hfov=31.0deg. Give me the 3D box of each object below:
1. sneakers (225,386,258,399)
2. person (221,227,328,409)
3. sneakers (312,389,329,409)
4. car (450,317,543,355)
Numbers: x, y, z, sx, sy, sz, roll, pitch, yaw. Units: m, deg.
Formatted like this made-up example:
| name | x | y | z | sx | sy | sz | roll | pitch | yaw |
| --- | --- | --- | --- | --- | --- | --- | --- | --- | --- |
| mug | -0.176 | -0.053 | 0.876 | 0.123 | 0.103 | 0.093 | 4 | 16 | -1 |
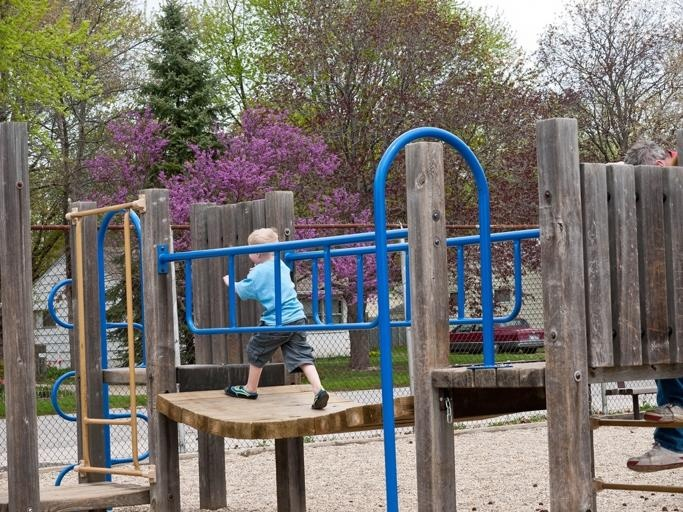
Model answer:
| name | x | y | z | sx | sy | sz | roll | pitch | yaw |
| --- | --- | --- | --- | --- | --- | --- | --- | --- | --- |
| sneakers | -1.119 | 1.518 | 13.948 | 0.357 | 0.158 | 0.152 | 10 | -13 | 13 |
| person | -0.737 | 0.674 | 13.857 | 1.247 | 2.053 | 0.904 | -3 | -2 | 14 |
| sneakers | -0.222 | 1.528 | 13.321 | 0.103 | 0.099 | 0.255 | -6 | -40 | -22 |
| car | 2.650 | 1.407 | 21.315 | 1.710 | 0.682 | 0.762 | -2 | -5 | 43 |
